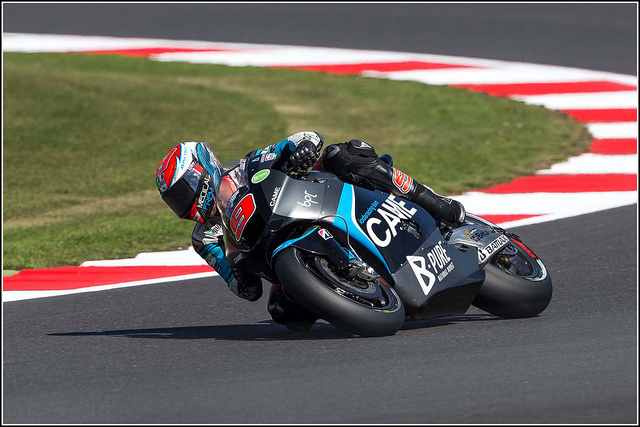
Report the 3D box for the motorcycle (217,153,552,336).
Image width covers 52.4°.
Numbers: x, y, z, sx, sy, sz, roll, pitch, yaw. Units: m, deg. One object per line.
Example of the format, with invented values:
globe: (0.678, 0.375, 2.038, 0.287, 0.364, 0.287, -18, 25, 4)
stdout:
motorcycle: (0.577, 0.417, 5.694, 1.651, 1.037, 3.434, 50, 23, 27)
